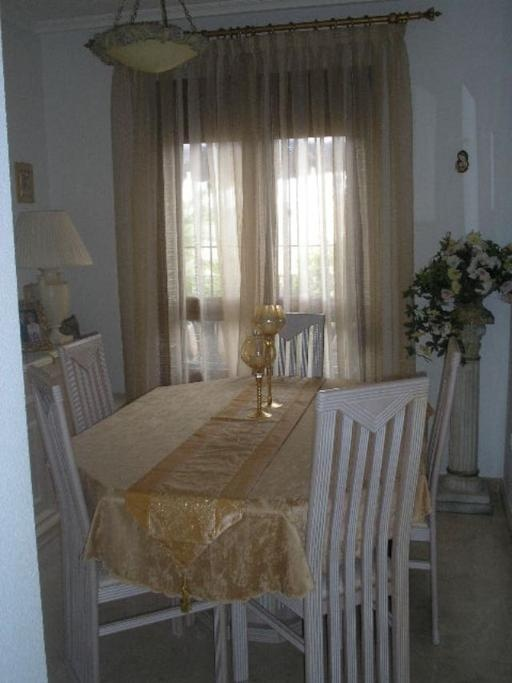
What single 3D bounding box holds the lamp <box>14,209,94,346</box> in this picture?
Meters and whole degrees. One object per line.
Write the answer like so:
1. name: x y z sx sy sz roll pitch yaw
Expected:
1. lamp: -1.219 -0.379 3.531 0.419 0.798 0.434 7 13 37
